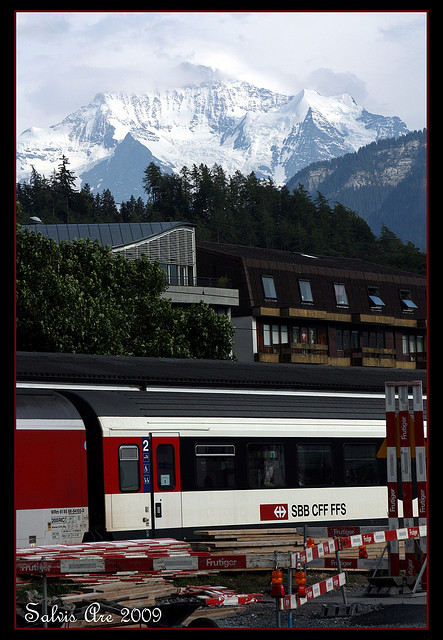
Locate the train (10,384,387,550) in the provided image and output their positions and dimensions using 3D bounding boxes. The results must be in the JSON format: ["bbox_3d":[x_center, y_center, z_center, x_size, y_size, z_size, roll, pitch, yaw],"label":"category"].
[{"bbox_3d":[1.220,3.486,24.987,10.328,3.091,1.849,7,-12,-42],"label":"train"}]

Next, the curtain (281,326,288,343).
[{"bbox_3d":[3.881,0.901,71.315,0.182,0.975,0.481,-8,-7,40],"label":"curtain"}]

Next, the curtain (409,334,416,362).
[{"bbox_3d":[13.036,1.643,79.496,0.164,1.173,0.919,-6,-6,29],"label":"curtain"}]

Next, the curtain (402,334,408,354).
[{"bbox_3d":[12.370,1.680,78.629,0.144,1.663,1.071,-2,-3,29],"label":"curtain"}]

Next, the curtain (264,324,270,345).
[{"bbox_3d":[2.741,0.902,70.220,0.179,1.204,0.678,-6,-6,27],"label":"curtain"}]

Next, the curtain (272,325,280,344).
[{"bbox_3d":[3.272,0.900,70.914,0.616,1.104,0.130,2,-8,-45],"label":"curtain"}]
